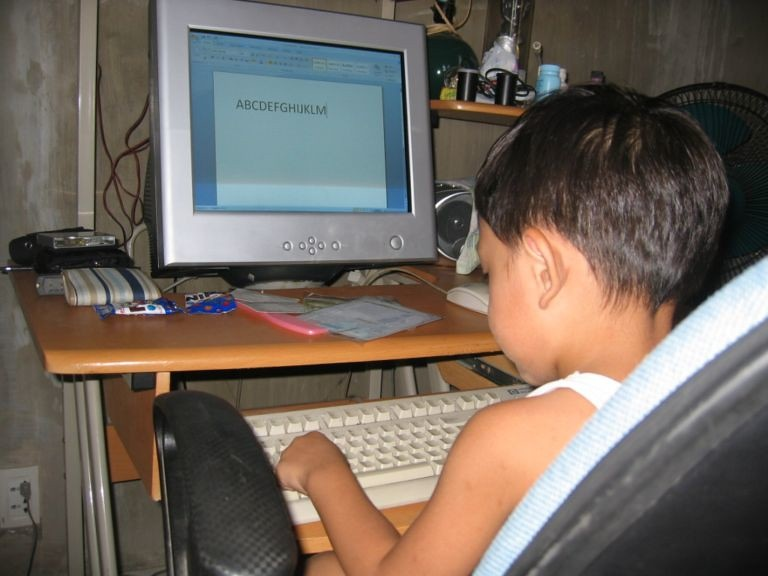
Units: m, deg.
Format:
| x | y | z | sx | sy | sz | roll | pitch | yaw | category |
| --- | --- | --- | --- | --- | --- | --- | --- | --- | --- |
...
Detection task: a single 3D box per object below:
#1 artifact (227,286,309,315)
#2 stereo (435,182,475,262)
| x | y | z | sx | sy | sz | roll | pitch | yaw | category |
| --- | --- | --- | --- | --- | --- | --- | --- | --- | --- |
| -0.213 | 0.023 | 1.141 | 0.094 | 0.019 | 0.062 | 22 | 20 | 14 | artifact |
| 0.171 | -0.168 | 1.574 | 0.120 | 0.176 | 0.062 | -3 | 18 | -3 | stereo |
